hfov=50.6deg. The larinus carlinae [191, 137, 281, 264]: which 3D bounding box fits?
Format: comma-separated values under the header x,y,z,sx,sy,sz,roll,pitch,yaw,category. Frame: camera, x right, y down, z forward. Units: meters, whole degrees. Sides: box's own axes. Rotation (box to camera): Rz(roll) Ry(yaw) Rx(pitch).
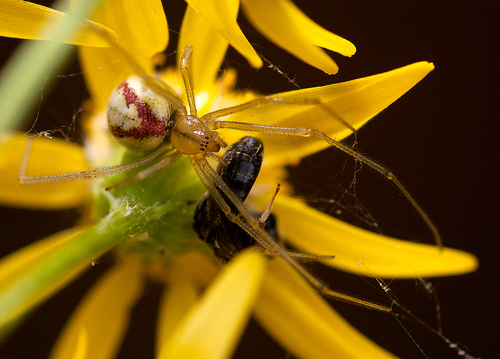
x,y,z,sx,sy,sz,roll,pitch,yaw,category
-0.015,0.041,0.985,0.165,0.243,0.113,18,-20,-5,larinus carlinae
